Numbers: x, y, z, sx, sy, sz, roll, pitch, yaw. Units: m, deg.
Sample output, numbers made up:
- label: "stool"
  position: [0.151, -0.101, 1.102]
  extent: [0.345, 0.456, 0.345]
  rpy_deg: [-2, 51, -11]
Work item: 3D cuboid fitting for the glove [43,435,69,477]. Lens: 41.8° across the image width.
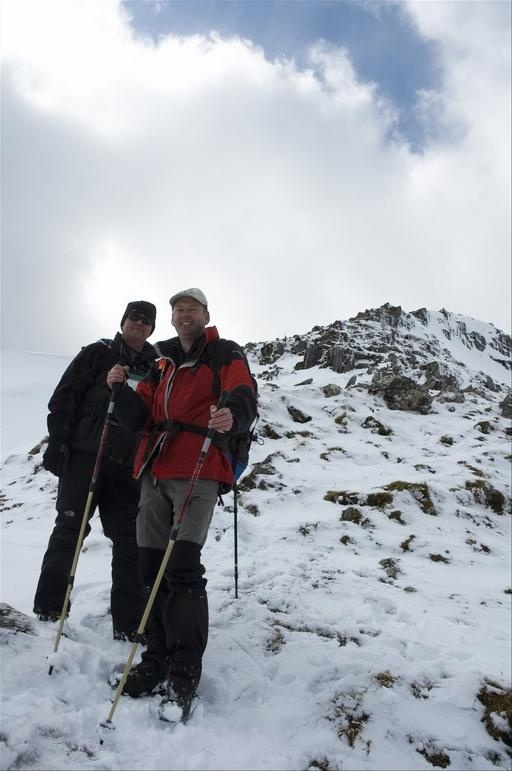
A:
- label: "glove"
  position: [-1.772, 0.637, 5.874]
  extent: [0.298, 0.296, 0.129]
  rpy_deg: [43, 21, 27]
